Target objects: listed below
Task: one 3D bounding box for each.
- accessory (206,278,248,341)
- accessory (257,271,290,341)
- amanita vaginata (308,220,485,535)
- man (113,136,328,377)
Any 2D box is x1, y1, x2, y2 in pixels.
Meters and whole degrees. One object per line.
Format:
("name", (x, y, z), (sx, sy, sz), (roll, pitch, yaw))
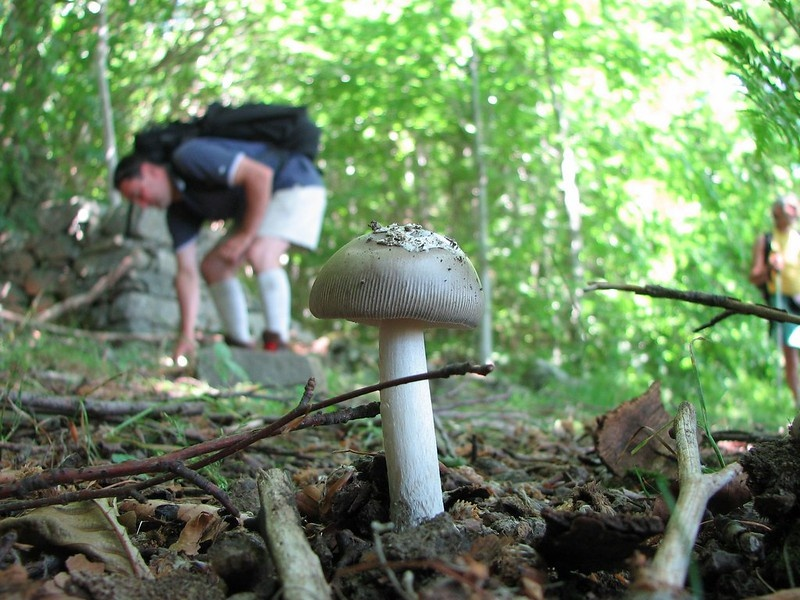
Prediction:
("accessory", (-1.396, 0.070, 6.250), (0.263, 0.580, 0.274), (4, 8, 31))
("accessory", (-1.033, 0.037, 5.970), (0.281, 0.590, 0.162), (5, -7, -14))
("amanita vaginata", (-0.027, 0.286, 2.919), (0.698, 1.188, 0.306), (4, -7, -8))
("man", (-1.426, -0.622, 6.049), (1.758, 2.560, 1.054), (0, 4, 2))
